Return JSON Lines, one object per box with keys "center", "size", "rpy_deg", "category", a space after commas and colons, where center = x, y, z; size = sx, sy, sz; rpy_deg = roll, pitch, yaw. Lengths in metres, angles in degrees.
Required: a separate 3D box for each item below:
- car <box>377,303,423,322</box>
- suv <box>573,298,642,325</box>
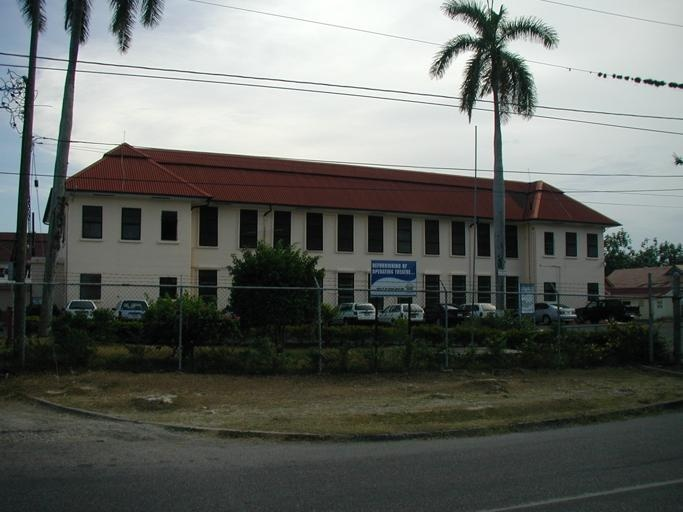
{"center": [3.299, 3.143, 42.394], "size": [1.558, 1.103, 2.759], "rpy_deg": [1, 2, -30], "category": "car"}
{"center": [15.603, 3.258, 45.670], "size": [3.577, 1.568, 6.765], "rpy_deg": [-3, -9, 18], "category": "suv"}
